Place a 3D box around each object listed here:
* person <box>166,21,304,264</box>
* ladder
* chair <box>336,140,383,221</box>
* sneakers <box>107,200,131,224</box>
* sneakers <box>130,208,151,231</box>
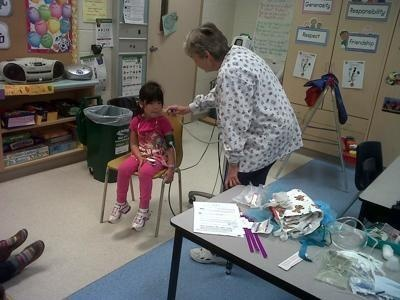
[{"bbox_3d":[0.210,-0.043,1.953,0.601,1.548,0.902,-8,14,-27],"label":"person"},{"bbox_3d":[1.560,-0.239,3.492,0.902,1.257,0.996,10,13,4],"label":"ladder"},{"bbox_3d":[1.689,0.313,2.693,0.377,0.677,0.389,-10,34,-5],"label":"chair"},{"bbox_3d":[-0.717,0.508,2.429,0.093,0.134,0.273,13,35,29],"label":"sneakers"},{"bbox_3d":[-0.483,0.559,2.338,0.086,0.124,0.264,12,41,12],"label":"sneakers"}]
